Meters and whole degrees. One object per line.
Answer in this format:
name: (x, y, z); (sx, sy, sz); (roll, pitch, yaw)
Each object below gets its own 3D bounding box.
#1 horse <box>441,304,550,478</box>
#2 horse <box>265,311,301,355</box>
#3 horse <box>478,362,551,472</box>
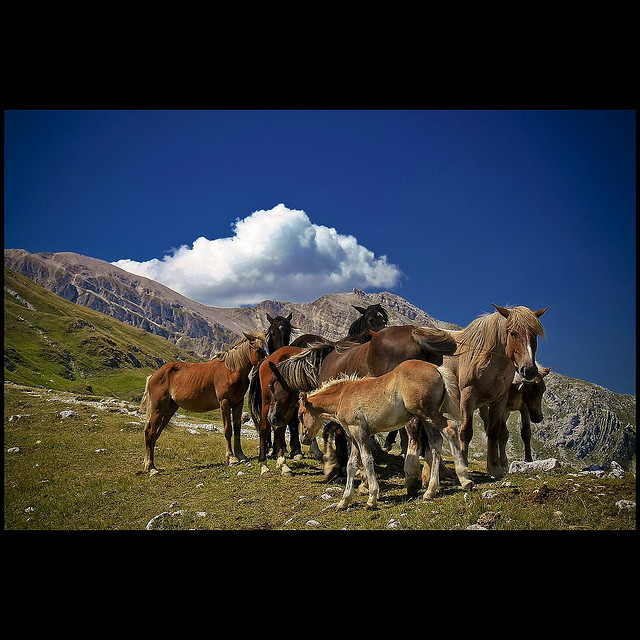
horse: (3.377, 1.494, 10.624); (1.065, 3.513, 4.451); (2, -4, -6)
horse: (-1.023, 0.637, 15.267); (0.684, 1.902, 2.986); (-12, -7, -3)
horse: (4.503, 2.300, 12.036); (3.359, 3.082, 0.965); (15, -15, -43)
